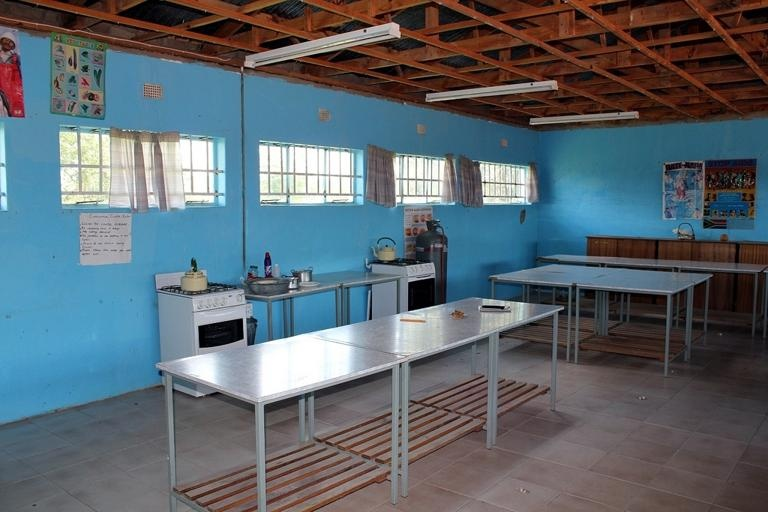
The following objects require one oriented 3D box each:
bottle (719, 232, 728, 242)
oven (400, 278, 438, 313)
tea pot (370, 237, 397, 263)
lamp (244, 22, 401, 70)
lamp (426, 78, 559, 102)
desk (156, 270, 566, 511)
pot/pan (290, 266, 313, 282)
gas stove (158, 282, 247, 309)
[{"bbox_3d":[6.037,-0.341,9.554,0.185,0.129,0.158,-1,0,6],"label":"bottle"},{"bbox_3d":[0.549,0.562,7.839,0.472,0.448,0.833,5,7,41],"label":"oven"},{"bbox_3d":[0.113,-0.093,8.103,0.329,0.341,0.487,-1,0,-37],"label":"tea pot"},{"bbox_3d":[-0.620,-2.151,5.476,2.005,0.106,0.296,9,11,43],"label":"lamp"},{"bbox_3d":[1.497,-2.237,7.111,1.946,0.182,0.531,9,12,42],"label":"lamp"},{"bbox_3d":[-0.097,1.198,4.372,3.007,1.162,1.121,-8,14,-43],"label":"desk"},{"bbox_3d":[-1.038,0.240,6.672,0.315,0.144,0.187,-2,1,-31],"label":"pot/pan"},{"bbox_3d":[-1.977,0.442,5.769,0.442,0.156,0.484,2,4,37],"label":"gas stove"}]
